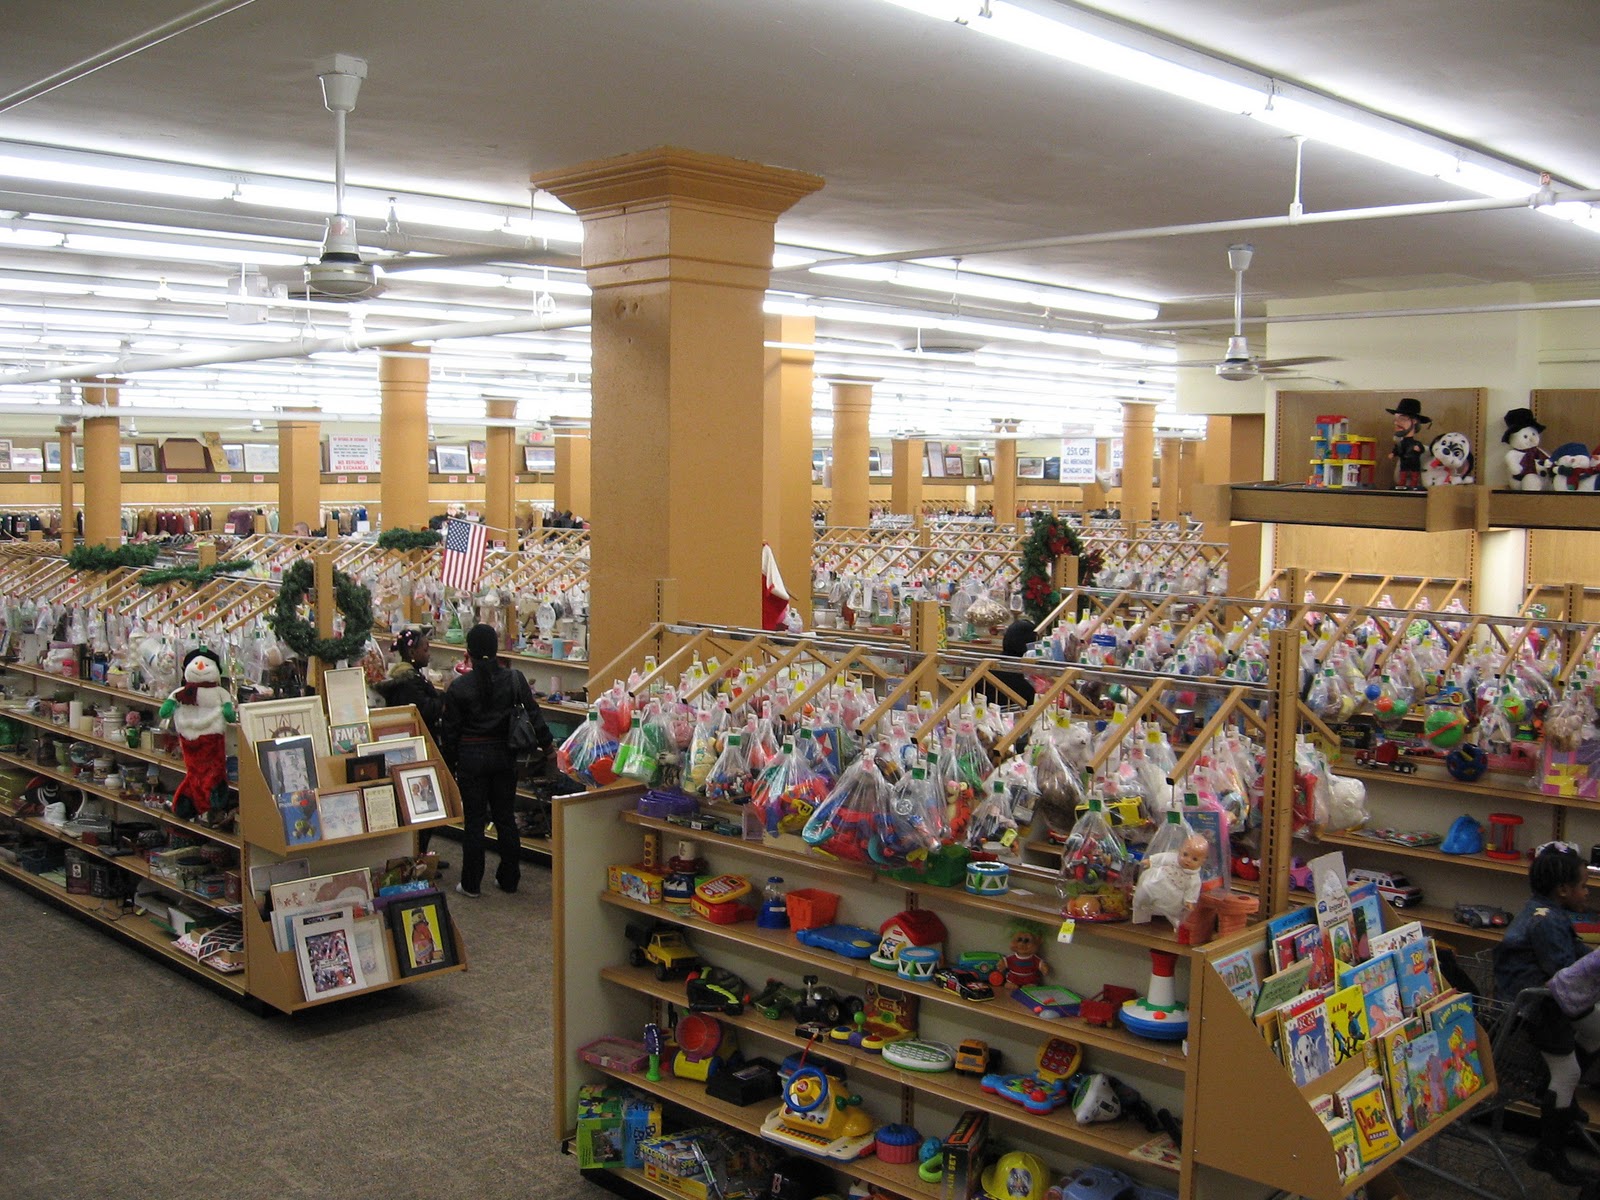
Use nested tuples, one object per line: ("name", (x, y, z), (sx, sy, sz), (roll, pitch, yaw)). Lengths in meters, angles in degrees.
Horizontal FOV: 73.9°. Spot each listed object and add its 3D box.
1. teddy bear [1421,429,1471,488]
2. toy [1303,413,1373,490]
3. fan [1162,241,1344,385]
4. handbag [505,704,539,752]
("teddy bear", (5.291, -1.166, 8.703), (0.573, 0.436, 0.344), (-5, 7, -42))
("toy", (4.693, -1.298, 9.222), (0.541, 0.607, 0.716), (3, 6, 30))
("fan", (3.329, -2.190, 8.079), (1.224, 1.004, 1.236), (-2, 21, 10))
("handbag", (-1.975, 0.895, 7.547), (0.181, 0.347, 0.312), (-14, -10, 31))
